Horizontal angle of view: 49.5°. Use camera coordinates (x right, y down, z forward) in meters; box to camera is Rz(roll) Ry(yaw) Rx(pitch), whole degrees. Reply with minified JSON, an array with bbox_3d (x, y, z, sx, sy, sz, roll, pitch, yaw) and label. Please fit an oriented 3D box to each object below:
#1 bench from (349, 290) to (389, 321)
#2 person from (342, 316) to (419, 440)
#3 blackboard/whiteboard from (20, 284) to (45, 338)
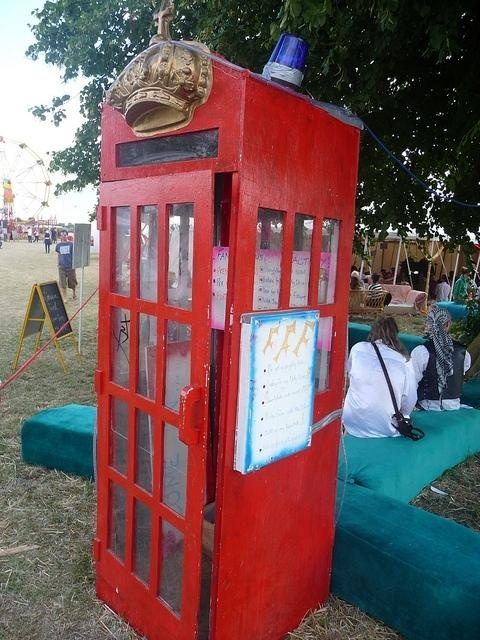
[{"bbox_3d":[3.042,-0.370,12.628,1.062,0.981,0.969,-1,2,21],"label":"bench"},{"bbox_3d":[1.143,0.534,4.239,0.525,1.087,0.594,20,-22,-22],"label":"person"},{"bbox_3d":[-2.711,-0.113,6.846,0.281,0.731,0.724,-6,10,-21],"label":"blackboard/whiteboard"}]
